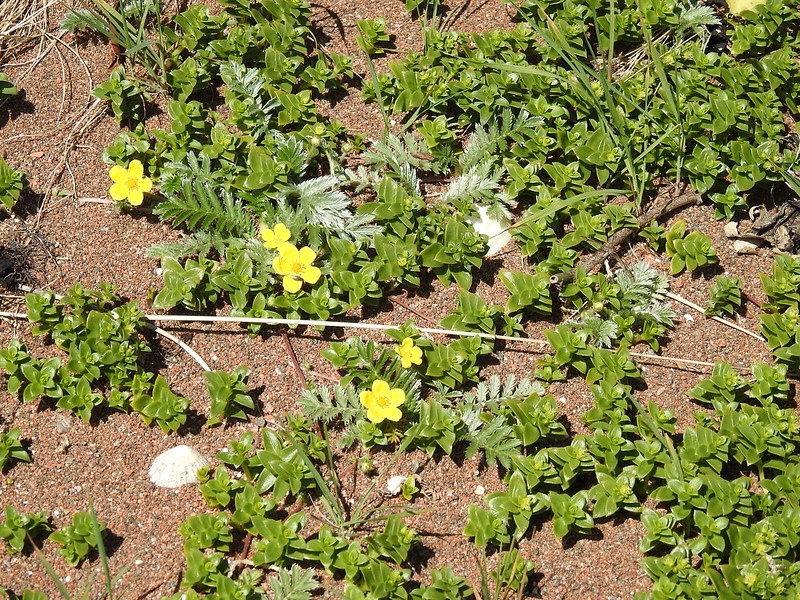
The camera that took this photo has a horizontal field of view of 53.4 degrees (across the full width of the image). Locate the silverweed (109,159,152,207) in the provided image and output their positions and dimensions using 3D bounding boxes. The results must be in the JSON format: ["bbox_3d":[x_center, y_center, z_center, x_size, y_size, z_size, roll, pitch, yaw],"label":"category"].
[{"bbox_3d":[-1.463,-0.632,4.336,0.207,0.178,0.192,13,54,-1],"label":"silverweed"}]

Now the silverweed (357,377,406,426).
[{"bbox_3d":[-0.090,0.528,4.016,0.214,0.146,0.188,22,55,5],"label":"silverweed"}]

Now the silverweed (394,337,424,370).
[{"bbox_3d":[0.045,0.291,4.129,0.137,0.056,0.153,21,69,-16],"label":"silverweed"}]

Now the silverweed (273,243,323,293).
[{"bbox_3d":[-0.551,-0.178,4.237,0.244,0.172,0.228,7,55,-6],"label":"silverweed"}]
